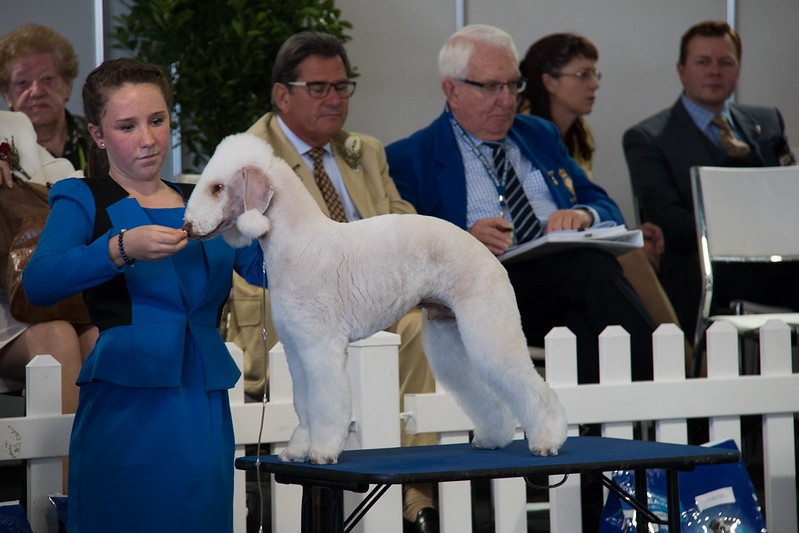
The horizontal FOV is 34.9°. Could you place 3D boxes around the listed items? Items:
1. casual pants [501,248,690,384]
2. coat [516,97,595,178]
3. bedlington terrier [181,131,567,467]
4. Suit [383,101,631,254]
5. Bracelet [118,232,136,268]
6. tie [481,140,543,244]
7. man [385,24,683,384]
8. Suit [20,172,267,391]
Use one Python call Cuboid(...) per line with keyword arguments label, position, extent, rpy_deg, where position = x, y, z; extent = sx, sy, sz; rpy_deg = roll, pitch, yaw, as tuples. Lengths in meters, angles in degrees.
Cuboid(label="casual pants", position=(0.922, 0.173, 6.287), extent=(0.675, 0.777, 0.278), rpy_deg=(-3, 19, 24))
Cuboid(label="coat", position=(0.988, -0.800, 7.560), extent=(0.499, 0.549, 0.388), rpy_deg=(6, 12, 41))
Cuboid(label="bedlington terrier", position=(-0.098, 0.144, 5.027), extent=(1.456, 1.311, 0.456), rpy_deg=(0, 1, -8))
Cuboid(label="Suit", position=(0.491, -0.357, 6.716), extent=(1.375, 0.975, 0.800), rpy_deg=(-11, 6, -19))
Cuboid(label="Bracelet", position=(-1.088, -0.067, 5.017), extent=(0.032, 0.115, 0.085), rpy_deg=(-14, 29, -2))
Cuboid(label="tie", position=(0.593, -0.362, 6.561), extent=(0.156, 0.620, 0.033), rpy_deg=(-15, -10, -16))
Cuboid(label="man", position=(0.752, -0.187, 6.489), extent=(1.193, 2.082, 1.516), rpy_deg=(-8, 1, -34))
Cuboid(label="Suit", position=(-1.004, 0.116, 5.327), extent=(1.059, 1.072, 0.592), rpy_deg=(3, -15, -35))
